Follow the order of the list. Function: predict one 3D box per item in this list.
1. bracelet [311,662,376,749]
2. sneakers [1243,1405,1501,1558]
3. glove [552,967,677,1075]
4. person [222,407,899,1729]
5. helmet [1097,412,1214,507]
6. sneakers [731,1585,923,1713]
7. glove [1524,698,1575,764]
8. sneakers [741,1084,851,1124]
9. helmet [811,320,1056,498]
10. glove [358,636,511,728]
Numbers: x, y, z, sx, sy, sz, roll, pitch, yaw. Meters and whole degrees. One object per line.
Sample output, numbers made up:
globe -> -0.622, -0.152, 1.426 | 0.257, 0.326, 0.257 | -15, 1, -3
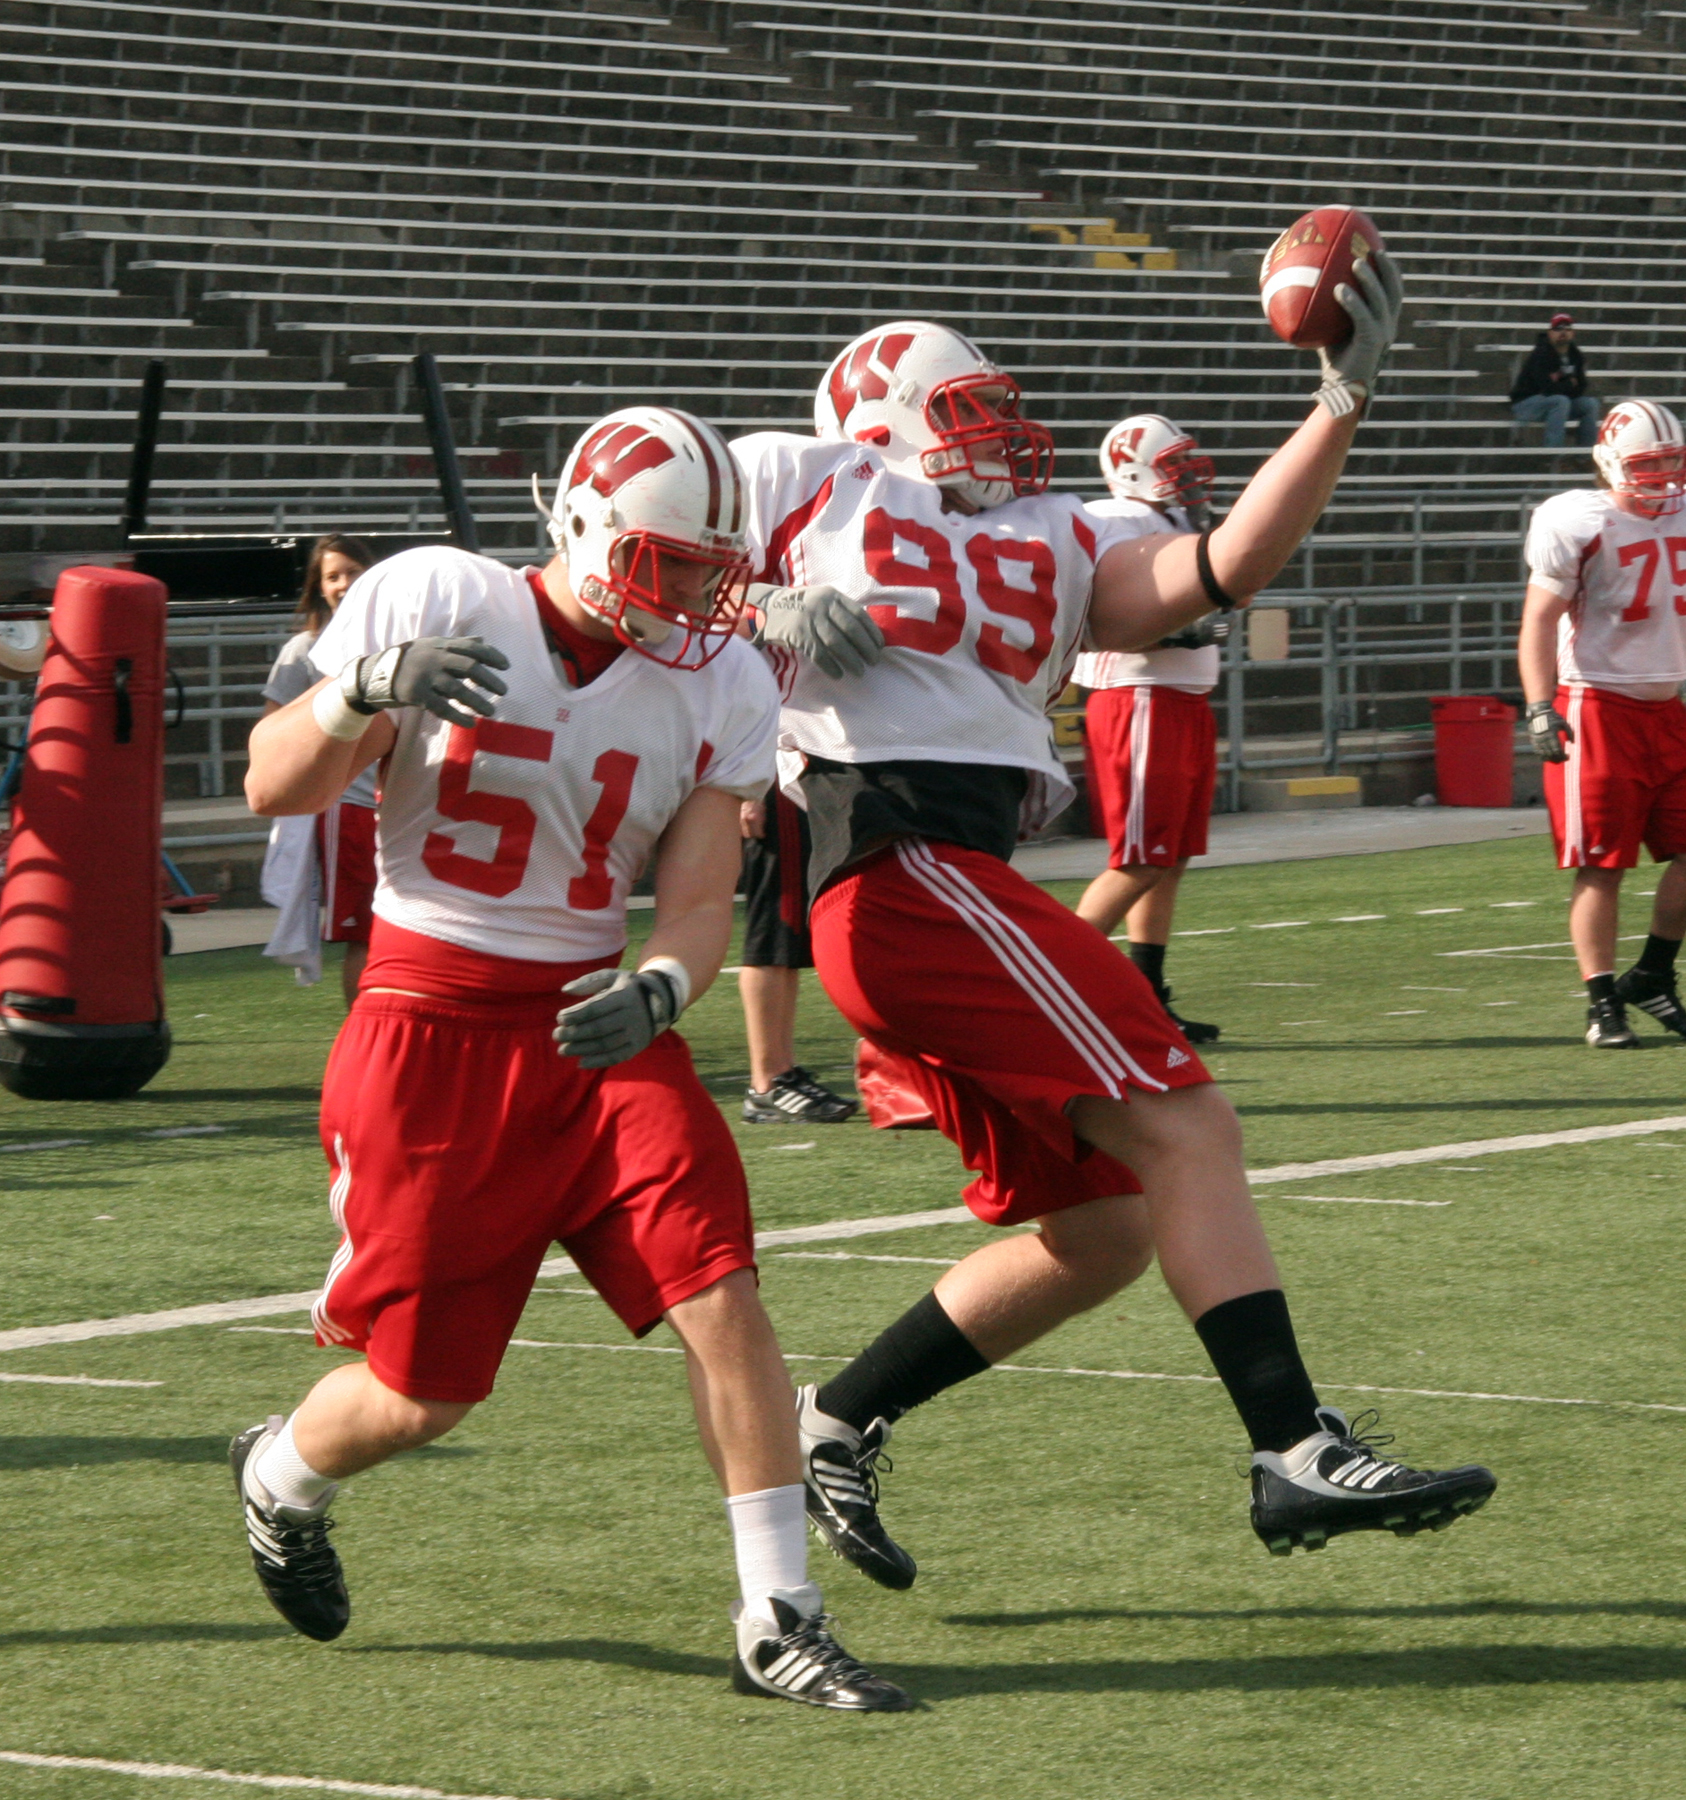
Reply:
bracelet -> -0.525, -0.208, 2.314 | 0.090, 0.058, 0.071 | 0, -21, -10
sneakers -> 0.555, 0.646, 2.370 | 0.173, 0.146, 0.219 | 0, 0, -25
glove -> -0.248, 0.132, 2.322 | 0.081, 0.054, 0.127 | -10, 9, 7
person -> -0.343, 0.138, 2.470 | 0.629, 1.443, 0.511 | 0, -1, -18
helmet -> 1.176, -1.697, 8.510 | 0.567, 0.303, 0.351 | 1, 14, 6
sneakers -> -0.044, 0.803, 2.363 | 0.267, 0.086, 0.082 | 1, 0, 25
glove -> 2.397, -0.580, 7.651 | 0.199, 0.197, 0.094 | -8, 1, -42
sneakers -> -0.154, 0.627, 6.681 | 0.371, 0.113, 0.111 | 0, 0, 1
helmet -> 0.141, -0.741, 3.285 | 0.373, 0.203, 0.228 | 10, 19, 26
glove -> -0.428, -0.214, 2.256 | 0.145, 0.084, 0.039 | 17, -38, -3
